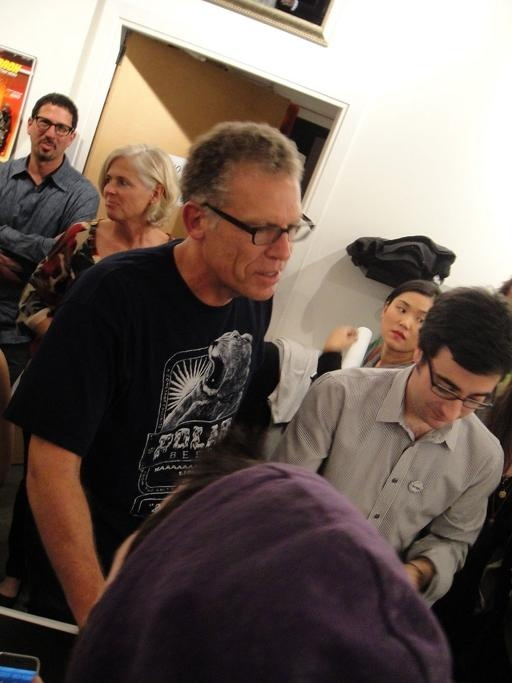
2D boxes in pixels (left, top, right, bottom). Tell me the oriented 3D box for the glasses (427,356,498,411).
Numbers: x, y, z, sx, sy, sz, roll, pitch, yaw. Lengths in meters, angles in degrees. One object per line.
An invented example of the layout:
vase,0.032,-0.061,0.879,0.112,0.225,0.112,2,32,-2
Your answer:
glasses,0.453,0.072,1.159,0.129,0.033,0.125,27,13,-26
